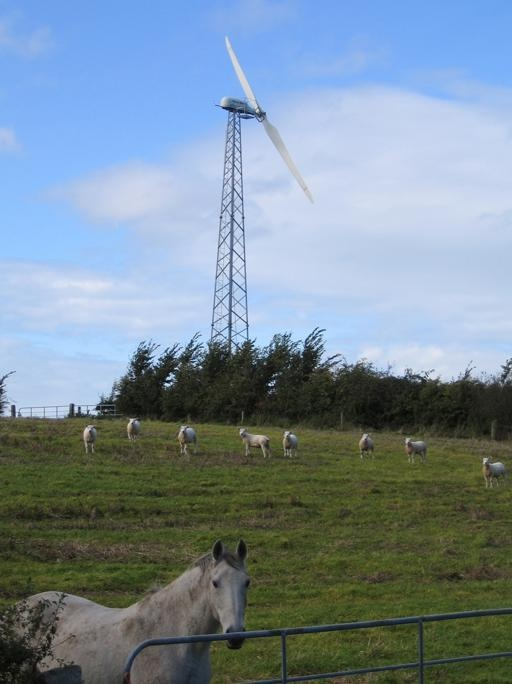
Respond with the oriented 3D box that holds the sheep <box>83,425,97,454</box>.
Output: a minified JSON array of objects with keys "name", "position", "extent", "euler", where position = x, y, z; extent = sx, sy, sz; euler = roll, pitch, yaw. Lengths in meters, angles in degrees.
[{"name":"sheep","position":[-6.322,3.815,40.976],"extent":[0.427,1.029,1.407],"euler":[4,-6,-7]}]

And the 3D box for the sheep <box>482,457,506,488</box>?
[{"name":"sheep","position":[8.291,4.618,37.138],"extent":[0.701,1.011,2.267],"euler":[2,-6,14]}]
